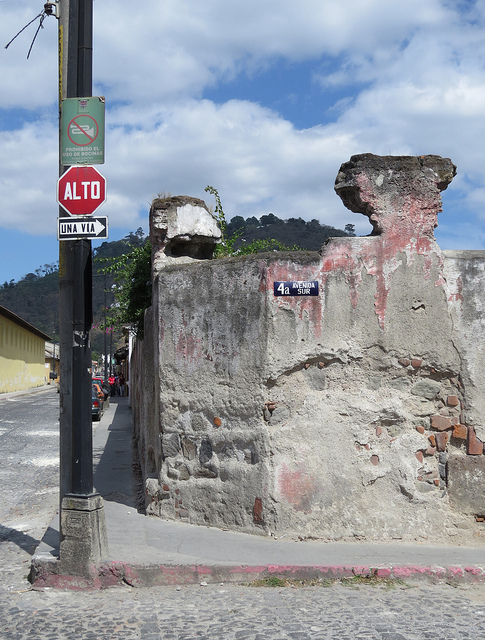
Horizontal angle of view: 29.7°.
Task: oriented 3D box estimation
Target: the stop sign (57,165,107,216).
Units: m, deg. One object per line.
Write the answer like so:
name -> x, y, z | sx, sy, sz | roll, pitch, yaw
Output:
stop sign -> -1.355, -1.101, 7.697 | 0.427, 0.420, 0.160 | 4, 11, 22
